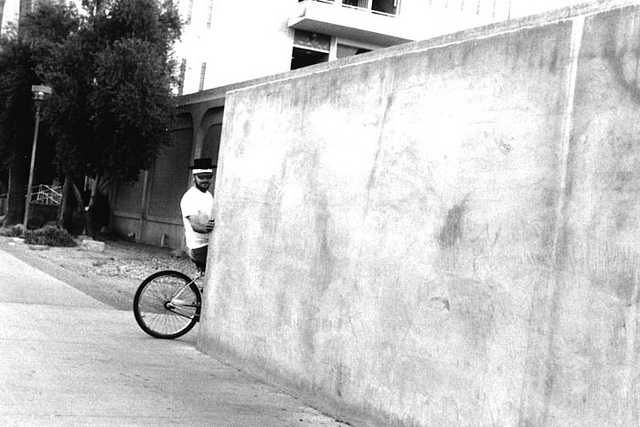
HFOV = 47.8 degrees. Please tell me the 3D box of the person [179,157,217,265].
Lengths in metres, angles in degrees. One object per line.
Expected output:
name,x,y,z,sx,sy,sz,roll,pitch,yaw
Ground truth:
person,-1.601,-0.042,9.342,0.402,1.375,0.454,8,0,-9
